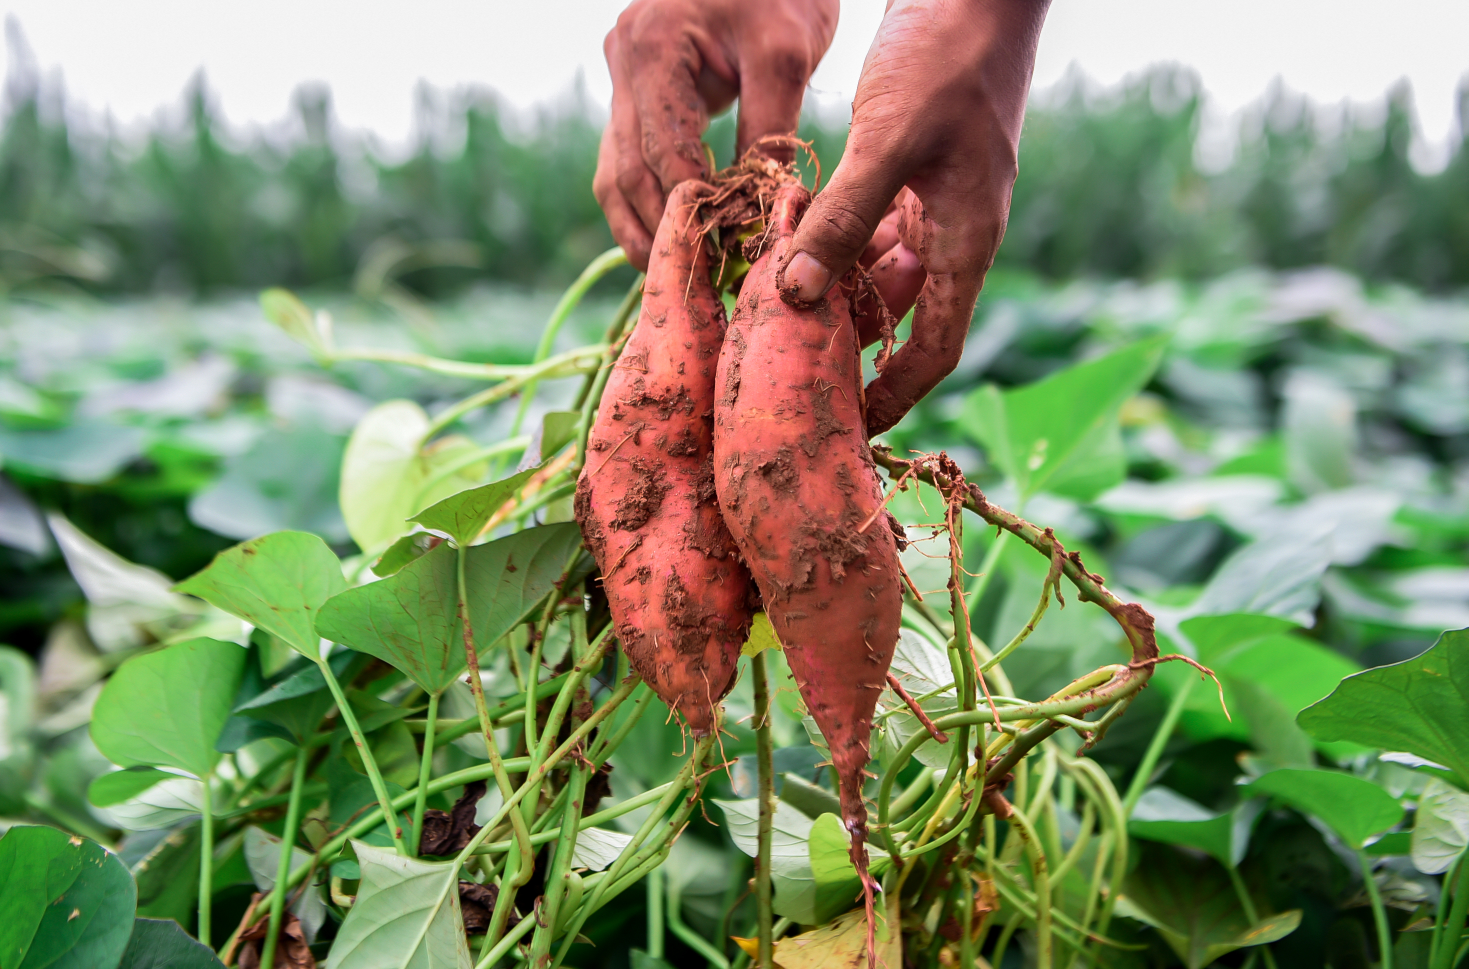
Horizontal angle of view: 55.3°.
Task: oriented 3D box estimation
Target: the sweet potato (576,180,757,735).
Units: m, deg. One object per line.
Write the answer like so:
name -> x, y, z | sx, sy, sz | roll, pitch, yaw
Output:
sweet potato -> -0.087, -0.016, 1.440 | 0.152, 0.512, 0.169 | 9, -16, -40

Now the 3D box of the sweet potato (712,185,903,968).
sweet potato -> 0.067, 0.053, 1.347 | 0.148, 0.756, 0.133 | -2, -4, -2
